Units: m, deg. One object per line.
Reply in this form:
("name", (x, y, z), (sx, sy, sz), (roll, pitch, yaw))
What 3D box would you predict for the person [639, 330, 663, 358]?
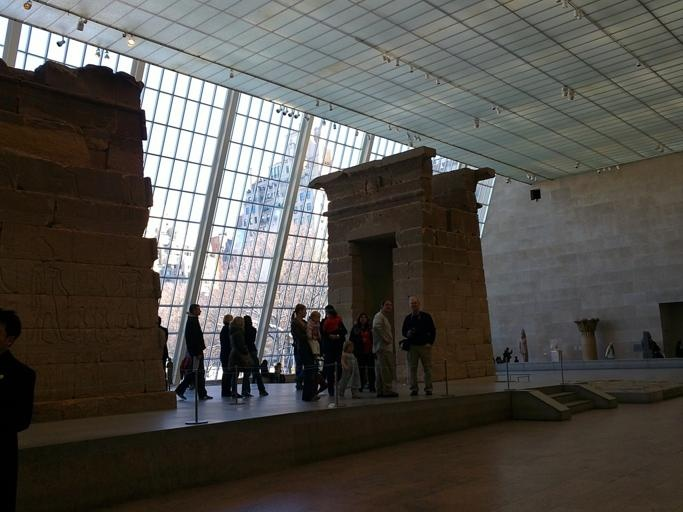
("person", (17.669, 5.050, 26.875), (0.913, 1.455, 1.317), (3, -5, 20))
